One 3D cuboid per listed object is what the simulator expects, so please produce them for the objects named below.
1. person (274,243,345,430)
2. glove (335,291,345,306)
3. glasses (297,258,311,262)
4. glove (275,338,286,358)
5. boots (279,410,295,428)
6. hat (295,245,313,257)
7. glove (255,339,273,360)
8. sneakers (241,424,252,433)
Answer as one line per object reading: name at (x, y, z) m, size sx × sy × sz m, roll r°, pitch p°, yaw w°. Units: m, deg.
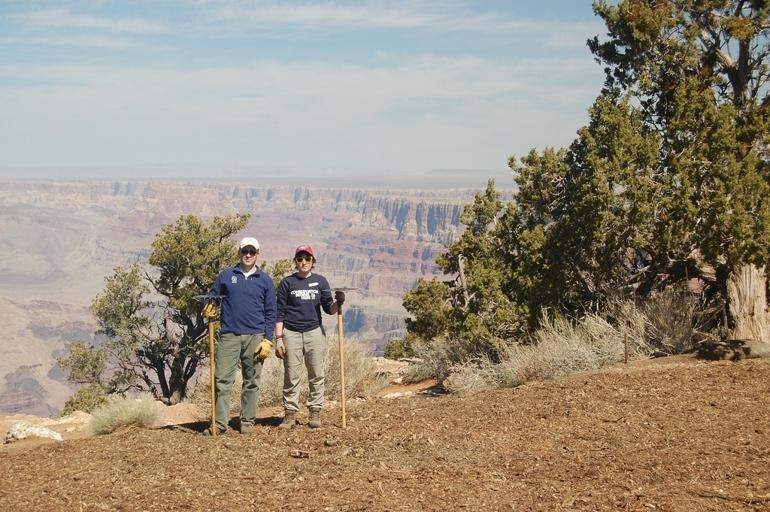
person at (-1.551, 1.572, 18.258) m, size 1.174 × 3.560 × 0.569 m, roll 1°, pitch 3°, yaw -7°
glove at (-0.861, 0.817, 18.047) m, size 0.177 × 0.344 × 0.473 m, roll 1°, pitch 3°, yaw -3°
glasses at (-1.546, 0.066, 18.123) m, size 0.228 × 0.065 × 0.041 m, roll 2°, pitch 3°, yaw 7°
glove at (-2.031, 1.801, 18.191) m, size 0.188 × 0.415 × 0.184 m, roll 0°, pitch 3°, yaw -22°
boots at (-1.886, 3.199, 18.228) m, size 0.277 × 0.334 × 0.410 m, roll 1°, pitch 3°, yaw 4°
hat at (-1.538, -0.093, 18.080) m, size 0.264 × 0.223 × 0.459 m, roll -1°, pitch 5°, yaw 1°
glove at (-2.295, 1.873, 18.135) m, size 0.279 × 0.418 × 0.172 m, roll -4°, pitch -26°, yaw 37°
sneakers at (-2.656, 3.343, 18.010) m, size 0.245 × 0.178 × 0.201 m, roll 1°, pitch 3°, yaw -7°
